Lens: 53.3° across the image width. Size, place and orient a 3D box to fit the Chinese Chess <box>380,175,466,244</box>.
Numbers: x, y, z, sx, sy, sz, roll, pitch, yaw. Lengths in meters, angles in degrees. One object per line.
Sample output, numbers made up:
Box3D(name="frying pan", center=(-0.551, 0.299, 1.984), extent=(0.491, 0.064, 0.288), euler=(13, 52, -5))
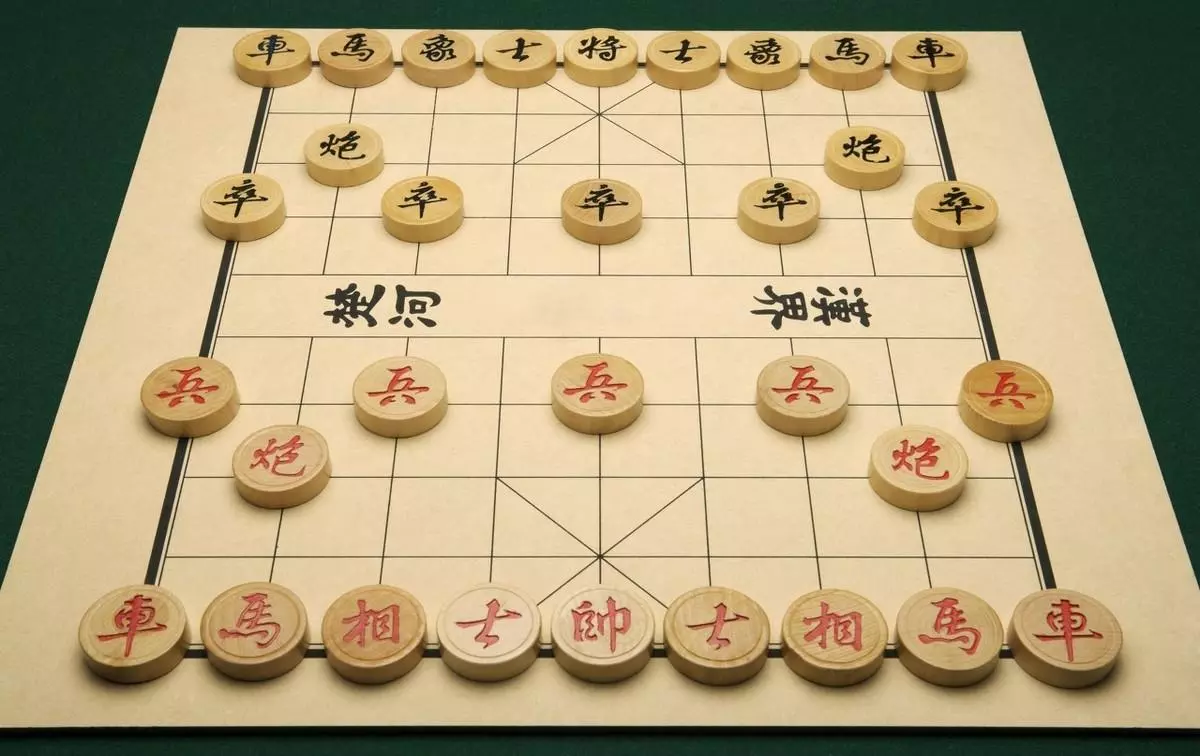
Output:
Box3D(name="Chinese Chess", center=(-0.950, -0.895, 6.438), extent=(0.426, 0.359, 0.229), euler=(-1, 6, -9))

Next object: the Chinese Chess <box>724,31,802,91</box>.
Box3D(name="Chinese Chess", center=(0.993, -1.873, 7.053), extent=(0.430, 0.097, 0.414), euler=(-7, -15, -18))

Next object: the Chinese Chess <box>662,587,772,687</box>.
Box3D(name="Chinese Chess", center=(0.525, 1.166, 5.373), extent=(0.456, 0.411, 0.203), euler=(0, 6, 3))

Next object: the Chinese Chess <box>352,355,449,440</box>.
Box3D(name="Chinese Chess", center=(-0.979, 0.087, 5.927), extent=(0.619, 0.573, 0.109), euler=(-3, -42, 0))

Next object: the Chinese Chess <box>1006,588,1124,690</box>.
Box3D(name="Chinese Chess", center=(2.086, 1.150, 5.295), extent=(0.444, 0.114, 0.412), euler=(0, 47, 2))

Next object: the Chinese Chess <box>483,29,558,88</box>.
Box3D(name="Chinese Chess", center=(-0.470, -1.861, 7.017), extent=(0.413, 0.358, 0.241), euler=(-1, 6, -5))

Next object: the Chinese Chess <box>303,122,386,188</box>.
Box3D(name="Chinese Chess", center=(-1.409, -1.225, 6.633), extent=(0.427, 0.359, 0.256), euler=(-1, 6, -10))

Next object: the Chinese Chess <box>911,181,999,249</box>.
Box3D(name="Chinese Chess", center=(1.929, -0.904, 6.477), extent=(0.430, 0.406, 0.097), euler=(17, -36, 4))

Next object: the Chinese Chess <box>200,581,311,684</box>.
Box3D(name="Chinese Chess", center=(-1.540, 1.093, 5.435), extent=(0.428, 0.429, 0.154), euler=(43, -3, 27))

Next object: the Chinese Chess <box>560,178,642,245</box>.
Box3D(name="Chinese Chess", center=(0.016, -0.885, 6.432), extent=(0.429, 0.352, 0.227), euler=(0, 6, -1))

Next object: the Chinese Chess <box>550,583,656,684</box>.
Box3D(name="Chinese Chess", center=(0.031, 1.139, 5.396), extent=(0.423, 0.391, 0.096), euler=(-3, -31, -1))

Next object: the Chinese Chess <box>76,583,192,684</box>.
Box3D(name="Chinese Chess", center=(-2.085, 1.157, 5.365), extent=(0.471, 0.409, 0.207), euler=(-1, 6, -10))

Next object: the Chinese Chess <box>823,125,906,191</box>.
Box3D(name="Chinese Chess", center=(1.484, -1.251, 6.756), extent=(0.476, 0.146, 0.477), euler=(-4, -9, 33))

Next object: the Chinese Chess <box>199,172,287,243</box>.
Box3D(name="Chinese Chess", center=(-1.907, -0.922, 6.494), extent=(0.396, 0.363, 0.135), euler=(-1, -37, -6))

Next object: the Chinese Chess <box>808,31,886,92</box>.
Box3D(name="Chinese Chess", center=(1.393, -1.884, 7.122), extent=(0.469, 0.102, 0.444), euler=(-3, 33, -40))
